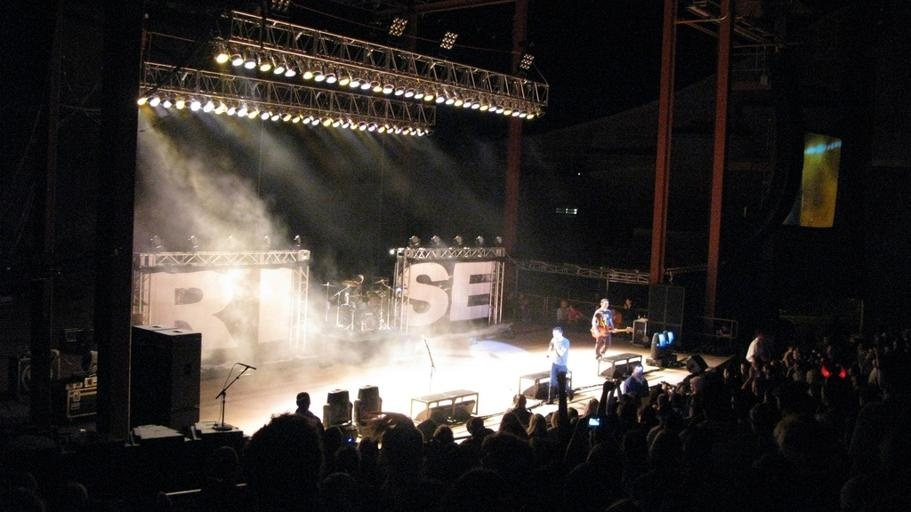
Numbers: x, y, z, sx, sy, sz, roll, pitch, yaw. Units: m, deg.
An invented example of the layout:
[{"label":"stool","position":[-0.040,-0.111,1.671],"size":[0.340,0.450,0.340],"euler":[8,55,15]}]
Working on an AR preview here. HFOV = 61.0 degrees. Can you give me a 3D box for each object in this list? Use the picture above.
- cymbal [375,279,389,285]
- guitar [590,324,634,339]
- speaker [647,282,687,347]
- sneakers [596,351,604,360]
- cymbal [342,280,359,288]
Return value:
[{"label":"cymbal","position":[-3.067,1.087,32.471],"size":[0.302,0.172,0.302],"euler":[-2,-3,27]},{"label":"guitar","position":[5.857,2.845,29.114],"size":[2.241,0.354,0.847],"euler":[-2,-17,-1]},{"label":"speaker","position":[8.190,1.977,29.442],"size":[1.262,2.162,0.823],"euler":[-6,-25,40]},{"label":"sneakers","position":[4.936,3.402,26.554],"size":[0.305,0.287,0.226],"euler":[-5,-8,26]},{"label":"cymbal","position":[-4.194,1.089,30.279],"size":[0.705,0.333,0.736],"euler":[-2,-7,13]}]
